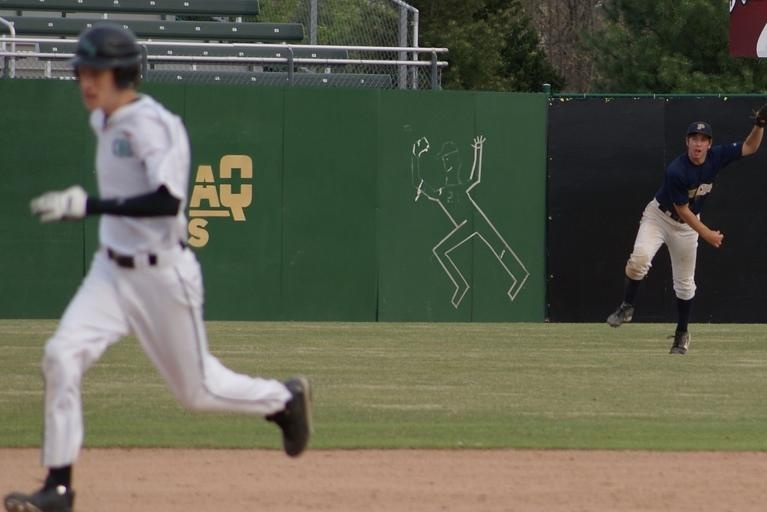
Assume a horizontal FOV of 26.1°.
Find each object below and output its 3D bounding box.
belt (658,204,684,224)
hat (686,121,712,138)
[{"bbox_3d":[3.827,-0.607,22.084,0.296,0.077,0.214,39,-1,-8],"label":"belt"},{"bbox_3d":[4.182,-1.675,21.823,0.267,0.189,0.365,8,-18,12],"label":"hat"}]
